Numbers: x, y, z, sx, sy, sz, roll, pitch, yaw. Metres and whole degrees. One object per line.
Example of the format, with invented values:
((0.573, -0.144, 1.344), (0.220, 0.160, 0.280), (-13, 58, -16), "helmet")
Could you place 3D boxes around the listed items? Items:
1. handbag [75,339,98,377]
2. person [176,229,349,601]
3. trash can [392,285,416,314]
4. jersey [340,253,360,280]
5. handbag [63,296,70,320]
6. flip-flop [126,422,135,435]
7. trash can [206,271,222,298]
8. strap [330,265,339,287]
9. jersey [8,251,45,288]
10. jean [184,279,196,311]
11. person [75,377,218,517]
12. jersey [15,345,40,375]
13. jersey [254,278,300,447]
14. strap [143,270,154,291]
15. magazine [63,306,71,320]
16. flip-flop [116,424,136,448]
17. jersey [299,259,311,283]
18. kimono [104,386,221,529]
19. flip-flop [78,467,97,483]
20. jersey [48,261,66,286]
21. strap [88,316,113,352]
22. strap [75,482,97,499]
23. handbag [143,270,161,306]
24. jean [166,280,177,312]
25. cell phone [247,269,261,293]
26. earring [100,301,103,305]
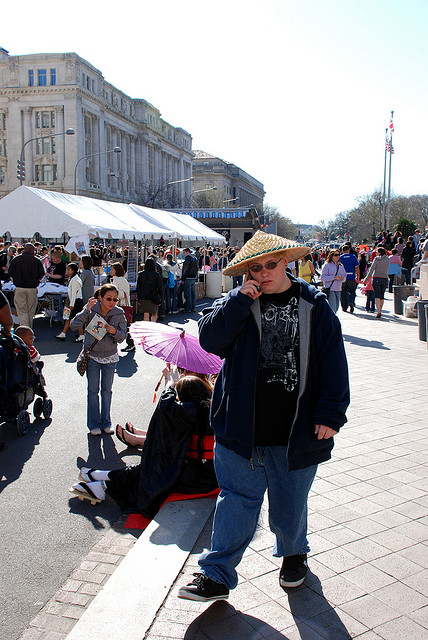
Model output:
((-1.469, 0.425, 5.797), (0.242, 0.387, 0.167), (19, -12, -39), "handbag")
((0.217, 0.452, 2.264), (0.729, 1.726, 0.489), (-2, 2, -4), "person")
((6.473, -0.707, 17.074), (0.812, 1.153, 0.910), (1, 3, 12), "trash can")
((4.317, -1.764, 16.254), (0.516, 0.782, 0.785), (-1, 2, 15), "jersey")
((-3.448, -0.168, 11.837), (0.133, 0.298, 0.610), (-2, 2, -15), "handbag")
((-0.906, 1.171, 5.467), (0.053, 0.131, 0.046), (-25, -3, 1), "flip-flop")
((-0.040, -1.675, 23.630), (0.648, 1.229, 0.957), (-2, 2, -4), "trash can")
((3.113, -1.183, 13.114), (0.067, 0.632, 0.042), (27, 15, -6), "strap")
((-4.227, -1.145, 11.370), (0.719, 0.812, 0.343), (-3, 2, -26), "jersey")
((-0.902, -0.923, 18.808), (0.416, 1.136, 1.271), (-2, 2, -3), "jean")
((-0.332, 1.012, 4.130), (1.273, 1.114, 0.691), (0, 1, 4), "person")
((-2.316, 0.511, 6.490), (0.228, 0.322, 0.119), (0, 6, -8), "jersey")
((0.274, 0.229, 2.228), (0.194, 0.625, 0.104), (-1, 2, 13), "jersey")
((-1.679, -1.035, 12.972), (0.096, 0.567, 0.030), (-29, -1, -7), "strap")
((-3.436, -0.167, 11.769), (0.203, 0.290, 0.101), (3, 0, -1), "magazine")
((-0.955, 1.259, 5.434), (0.109, 0.322, 0.114), (-19, -1, -12), "flip-flop")
((2.457, -1.335, 13.724), (0.312, 0.563, 1.160), (-1, 2, 11), "jersey")
((-0.403, 1.001, 3.815), (0.843, 0.923, 0.500), (-2, 2, -3), "kimono")
((-1.060, 1.270, 4.159), (0.079, 0.109, 0.056), (-2, -6, -5), "flip-flop")
((-4.668, -1.393, 15.073), (0.480, 0.667, 0.824), (-2, 2, -17), "jersey")
((-1.293, 0.166, 5.716), (0.057, 0.430, 0.067), (29, 14, -9), "strap")
((-1.020, 1.350, 4.041), (0.190, 0.076, 0.064), (41, -23, 4), "strap")
((-1.610, -0.822, 12.997), (0.396, 0.896, 0.199), (-2, 2, -15), "handbag")
((-1.550, -0.808, 18.132), (0.364, 1.001, 1.091), (-2, 2, -5), "jean")
((0.171, -0.175, 2.246), (0.021, 0.086, 0.082), (-12, 23, -8), "cell phone")
((-1.313, -0.209, 5.887), (0.013, 0.044, 0.046), (-4, 8, -41), "earring")
